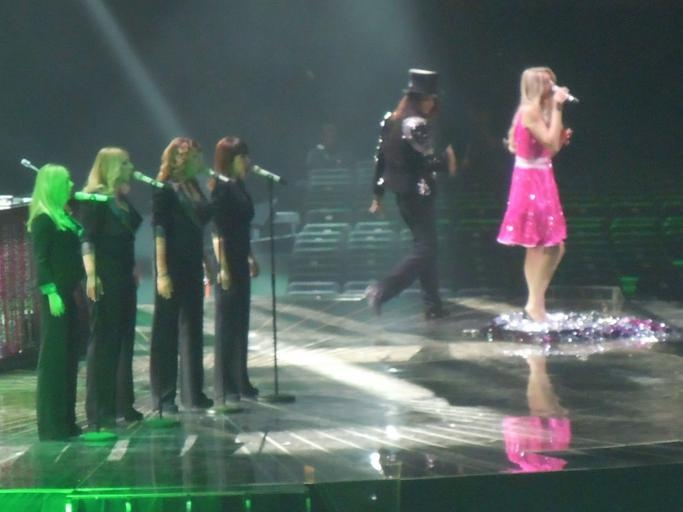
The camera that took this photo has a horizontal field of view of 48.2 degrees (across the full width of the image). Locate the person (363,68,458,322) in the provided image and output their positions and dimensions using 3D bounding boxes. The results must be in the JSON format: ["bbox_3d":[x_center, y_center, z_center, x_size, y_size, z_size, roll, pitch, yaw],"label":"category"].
[{"bbox_3d":[0.576,-0.559,6.800,0.679,2.184,0.966,-1,11,7],"label":"person"}]

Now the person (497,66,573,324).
[{"bbox_3d":[1.491,-0.467,5.953,0.535,1.988,0.438,0,11,15],"label":"person"}]

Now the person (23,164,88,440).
[{"bbox_3d":[-1.645,0.254,4.397,0.318,1.535,0.465,-5,11,-13],"label":"person"}]

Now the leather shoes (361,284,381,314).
[{"bbox_3d":[0.276,0.383,6.652,0.128,0.333,0.278,-2,10,1],"label":"leather shoes"}]

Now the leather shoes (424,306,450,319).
[{"bbox_3d":[0.824,0.511,6.775,0.144,0.102,0.136,-1,-1,-6],"label":"leather shoes"}]

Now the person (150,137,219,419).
[{"bbox_3d":[-1.003,0.112,4.722,0.485,1.663,0.398,-7,11,-21],"label":"person"}]
